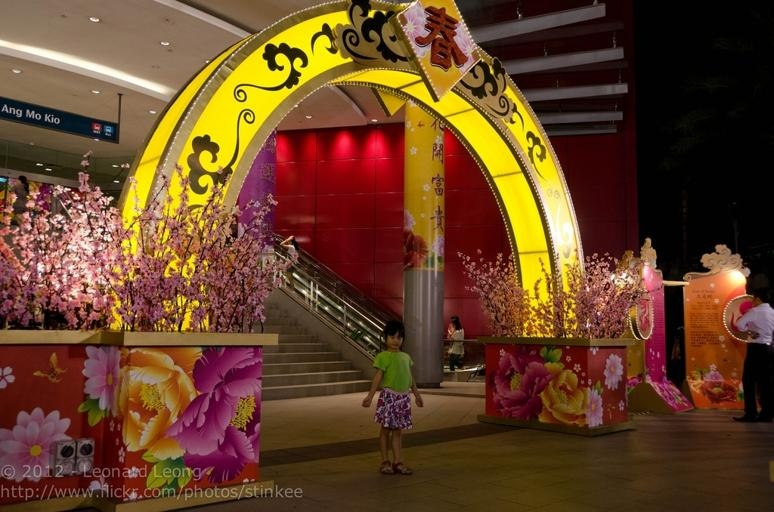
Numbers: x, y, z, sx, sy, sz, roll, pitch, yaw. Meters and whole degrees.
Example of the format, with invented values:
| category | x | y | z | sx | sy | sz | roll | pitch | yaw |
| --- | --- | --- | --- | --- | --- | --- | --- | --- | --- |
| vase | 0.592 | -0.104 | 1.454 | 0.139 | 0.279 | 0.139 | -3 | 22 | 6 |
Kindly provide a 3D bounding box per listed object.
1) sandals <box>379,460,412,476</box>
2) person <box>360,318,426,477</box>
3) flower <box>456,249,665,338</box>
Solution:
| category | x | y | z | sx | sy | sz | roll | pitch | yaw |
| --- | --- | --- | --- | --- | --- | --- | --- | --- | --- |
| sandals | 0.079 | 1.820 | 4.623 | 0.206 | 0.066 | 0.118 | 0 | 0 | 6 |
| person | 0.070 | 1.267 | 5.130 | 0.529 | 1.297 | 1.451 | 0 | -7 | 2 |
| flower | 2.504 | 0.498 | 7.449 | 1.921 | 1.094 | 1.661 | -5 | -13 | 32 |
